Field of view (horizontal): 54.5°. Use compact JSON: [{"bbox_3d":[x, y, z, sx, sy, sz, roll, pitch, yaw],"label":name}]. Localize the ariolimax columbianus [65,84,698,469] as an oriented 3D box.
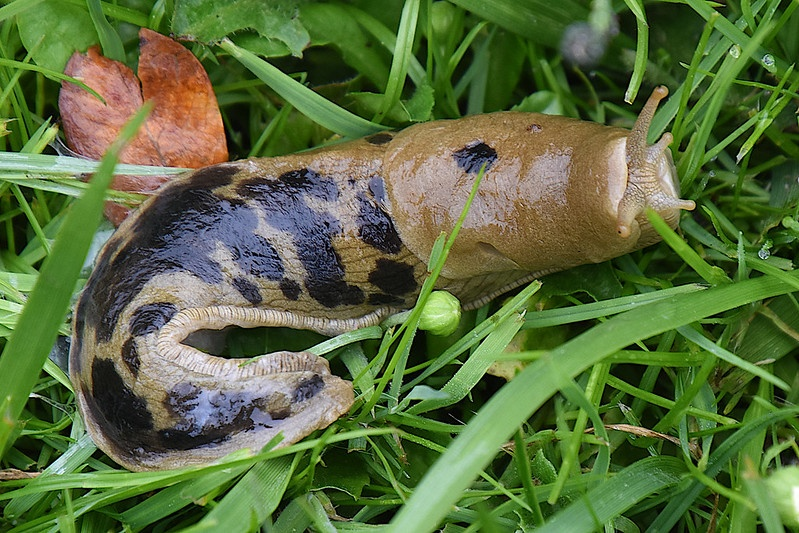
[{"bbox_3d":[-0.093,-0.054,2.332,1.895,0.417,0.860,-21,58,4],"label":"ariolimax columbianus"}]
